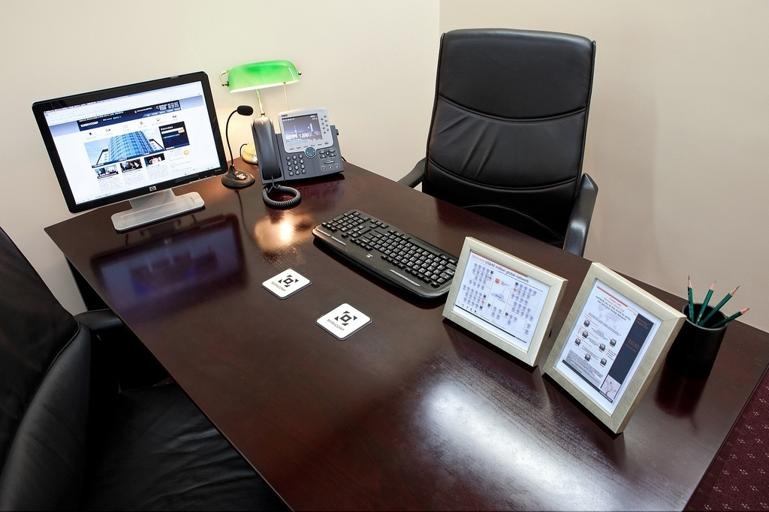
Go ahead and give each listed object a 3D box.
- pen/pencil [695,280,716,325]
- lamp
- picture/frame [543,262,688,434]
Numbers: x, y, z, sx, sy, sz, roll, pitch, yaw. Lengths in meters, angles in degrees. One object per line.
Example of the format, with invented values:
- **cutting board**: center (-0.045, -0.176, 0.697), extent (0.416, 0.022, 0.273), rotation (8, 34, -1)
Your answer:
- **pen/pencil**: center (1.175, 0.157, 1.789), extent (0.029, 0.024, 0.230), rotation (23, 61, 21)
- **lamp**: center (-0.616, -0.788, 2.500), extent (0.395, 0.420, 0.180), rotation (-21, 43, -26)
- **picture/frame**: center (0.608, 0.263, 1.308), extent (0.198, 0.298, 0.258), rotation (-33, 51, -27)
